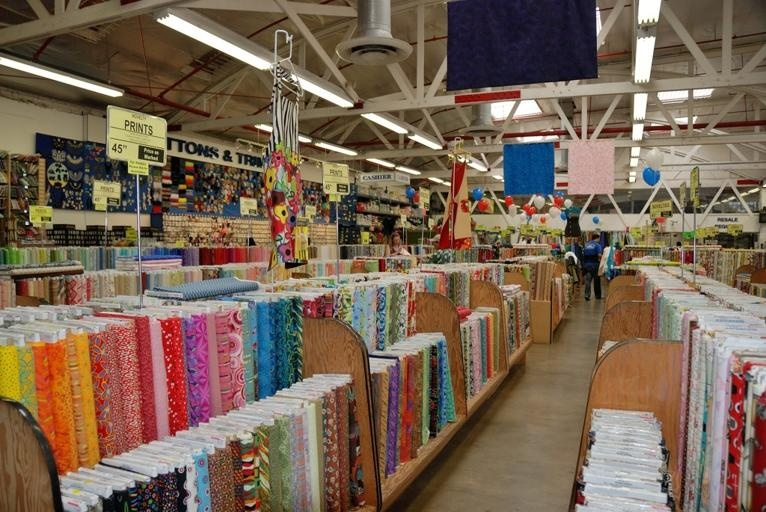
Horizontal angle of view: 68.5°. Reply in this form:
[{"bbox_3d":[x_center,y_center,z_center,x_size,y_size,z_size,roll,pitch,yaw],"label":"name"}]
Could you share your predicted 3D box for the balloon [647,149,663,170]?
[{"bbox_3d":[4.824,-1.744,9.947,0.231,0.331,0.644,8,12,23],"label":"balloon"}]
